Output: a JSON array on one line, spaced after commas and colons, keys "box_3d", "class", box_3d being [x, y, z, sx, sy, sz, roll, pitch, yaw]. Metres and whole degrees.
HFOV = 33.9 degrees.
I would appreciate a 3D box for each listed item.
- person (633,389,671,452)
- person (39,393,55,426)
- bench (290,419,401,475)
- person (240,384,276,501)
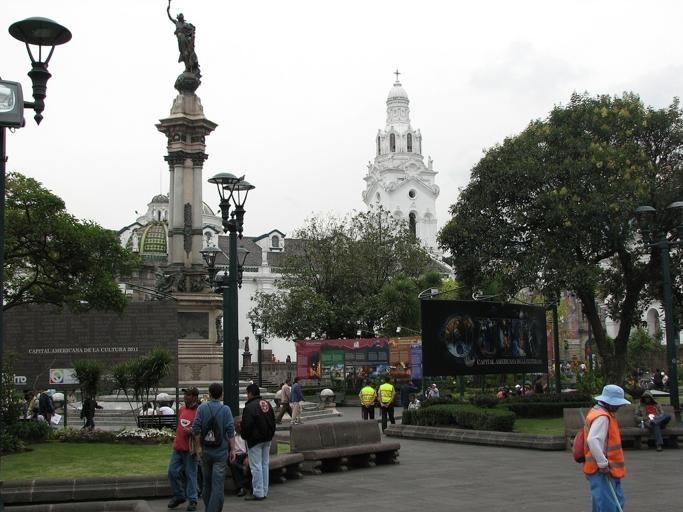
[{"box_3d": [9.341, 4.902, 33.534, 1.036, 1.758, 0.774, 7, -13, -40], "class": "person"}, {"box_3d": [-10.762, 5.476, 40.751, 0.514, 1.231, 1.695, 1, -11, -15], "class": "person"}, {"box_3d": [0.001, 5.189, 30.886, 3.224, 1.403, 0.864, 6, -13, -35], "class": "bench"}, {"box_3d": [-2.086, 4.555, 27.617, 0.832, 2.764, 0.595, 0, -10, -9], "class": "person"}]
